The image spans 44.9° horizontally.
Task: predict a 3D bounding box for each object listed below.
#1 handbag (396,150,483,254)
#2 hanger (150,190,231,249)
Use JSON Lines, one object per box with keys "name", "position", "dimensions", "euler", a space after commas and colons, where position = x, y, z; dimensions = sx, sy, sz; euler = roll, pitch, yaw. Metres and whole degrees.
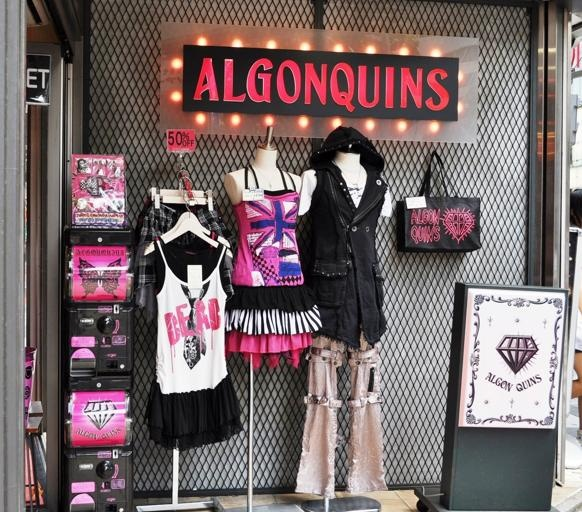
{"name": "handbag", "position": [0.839, -0.306, 4.093], "dimensions": [0.446, 0.717, 0.223], "euler": [1, -6, -7]}
{"name": "hanger", "position": [-0.618, -0.204, 3.765], "dimensions": [0.357, 0.172, 0.400], "euler": [9, -11, -25]}
